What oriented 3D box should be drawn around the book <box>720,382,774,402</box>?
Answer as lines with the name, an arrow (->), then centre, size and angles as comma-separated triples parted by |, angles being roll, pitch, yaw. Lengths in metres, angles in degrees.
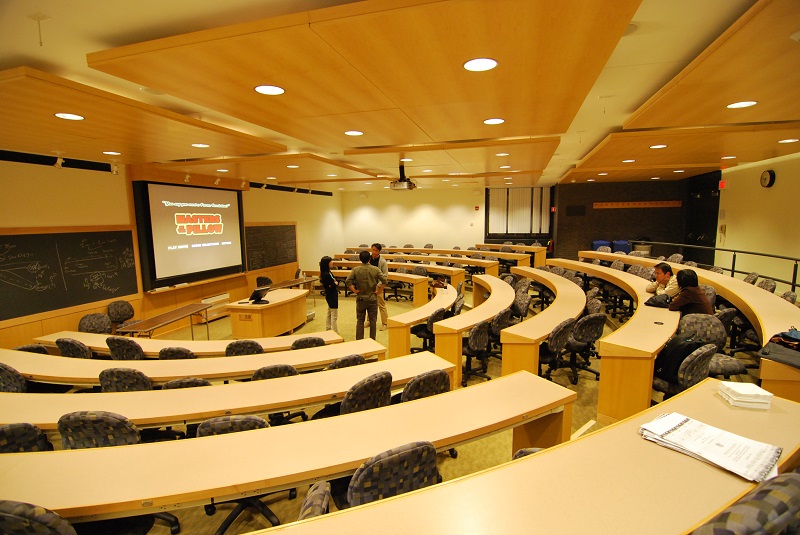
book -> 2.830, 1.032, 4.086 | 0.244, 0.090, 0.229 | -2, 6, -5

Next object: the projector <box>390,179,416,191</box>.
projector -> -0.087, -1.447, 8.806 | 0.415, 0.173, 0.421 | 2, 6, 34

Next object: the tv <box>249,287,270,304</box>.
tv -> -2.336, 0.475, 8.282 | 0.278, 0.271, 0.332 | -5, 4, 32
